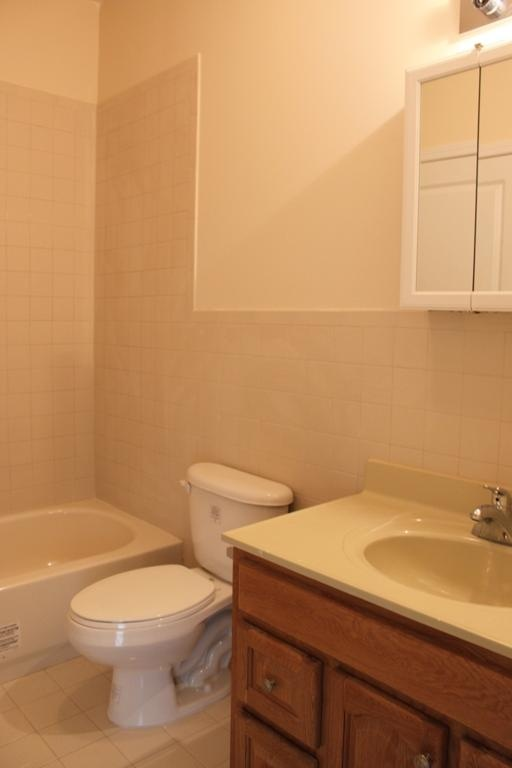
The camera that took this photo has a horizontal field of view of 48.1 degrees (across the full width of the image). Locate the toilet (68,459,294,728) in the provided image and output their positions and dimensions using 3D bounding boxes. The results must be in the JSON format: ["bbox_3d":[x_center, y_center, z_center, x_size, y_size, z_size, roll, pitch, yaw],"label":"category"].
[{"bbox_3d":[-0.265,0.661,1.898,0.552,0.836,0.729,2,-1,45],"label":"toilet"}]
